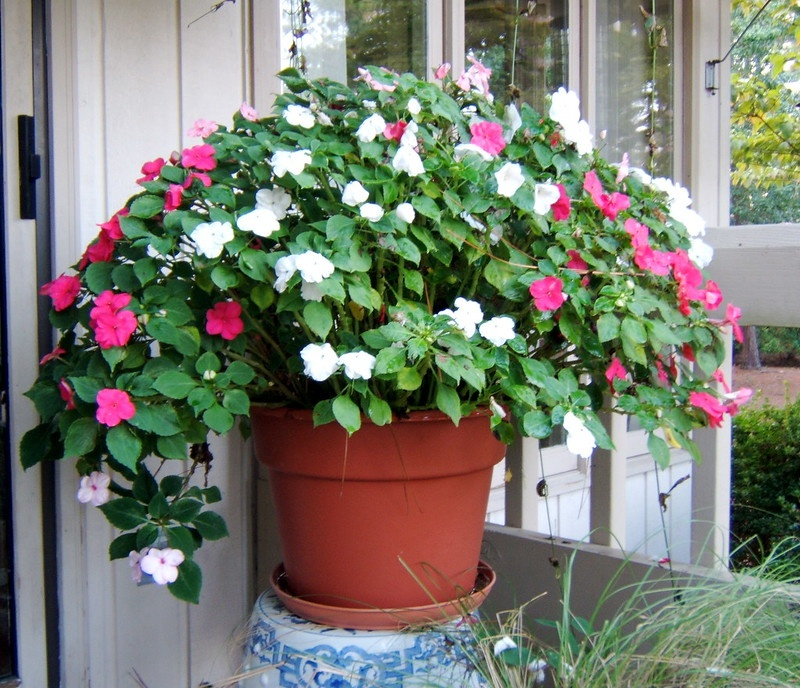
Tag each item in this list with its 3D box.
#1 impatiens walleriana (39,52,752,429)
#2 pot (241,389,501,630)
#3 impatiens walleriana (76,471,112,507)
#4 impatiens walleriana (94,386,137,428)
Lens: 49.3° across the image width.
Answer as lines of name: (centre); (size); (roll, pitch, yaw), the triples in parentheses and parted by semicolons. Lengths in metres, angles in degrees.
impatiens walleriana: (0.012, -0.167, 1.458); (0.814, 0.571, 0.759); (6, 31, -18)
pot: (-0.053, 0.255, 1.434); (0.324, 0.242, 0.349); (1, -6, 0)
impatiens walleriana: (-0.475, 0.231, 1.359); (0.048, 0.052, 0.057); (-4, 6, -11)
impatiens walleriana: (-0.403, 0.092, 1.243); (0.056, 0.056, 0.030); (-7, 7, -32)
